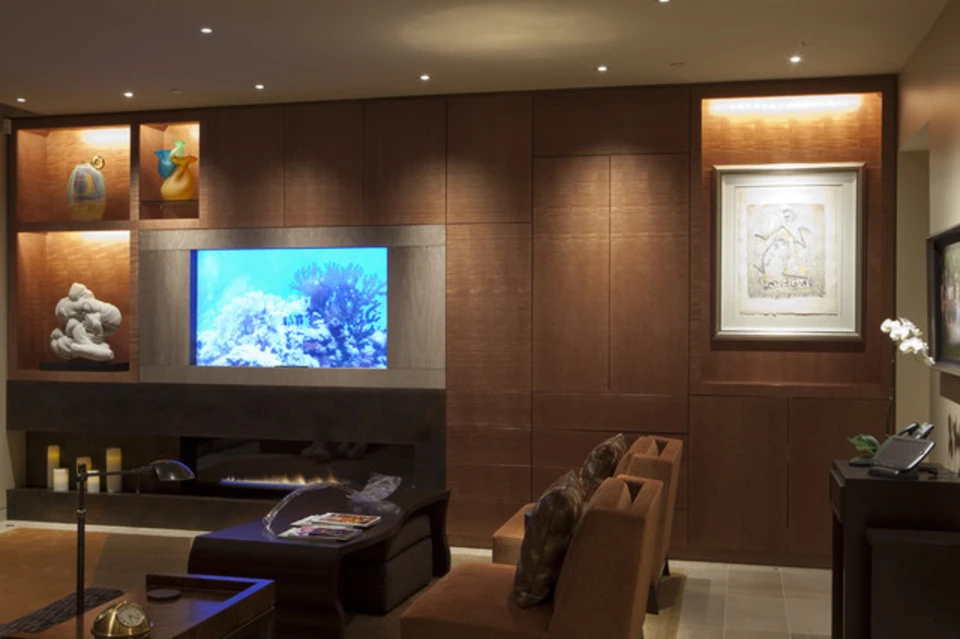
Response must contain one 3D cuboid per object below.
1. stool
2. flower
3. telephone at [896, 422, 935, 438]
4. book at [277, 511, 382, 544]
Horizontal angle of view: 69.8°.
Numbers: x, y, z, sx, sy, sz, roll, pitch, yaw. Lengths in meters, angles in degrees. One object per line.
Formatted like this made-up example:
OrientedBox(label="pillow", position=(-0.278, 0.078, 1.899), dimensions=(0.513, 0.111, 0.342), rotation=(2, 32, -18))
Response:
OrientedBox(label="stool", position=(-0.681, 1.615, 5.032), dimensions=(0.494, 0.576, 0.870), rotation=(-3, -3, 23))
OrientedBox(label="flower", position=(2.882, 0.536, 4.825), dimensions=(0.472, 1.089, 1.567), rotation=(2, 2, 31))
OrientedBox(label="telephone", position=(2.654, 0.670, 4.181), dimensions=(0.144, 0.086, 0.311), rotation=(3, 3, 36))
OrientedBox(label="book", position=(-0.990, 1.388, 4.639), dimensions=(0.585, 0.062, 0.504), rotation=(2, 2, 12))
